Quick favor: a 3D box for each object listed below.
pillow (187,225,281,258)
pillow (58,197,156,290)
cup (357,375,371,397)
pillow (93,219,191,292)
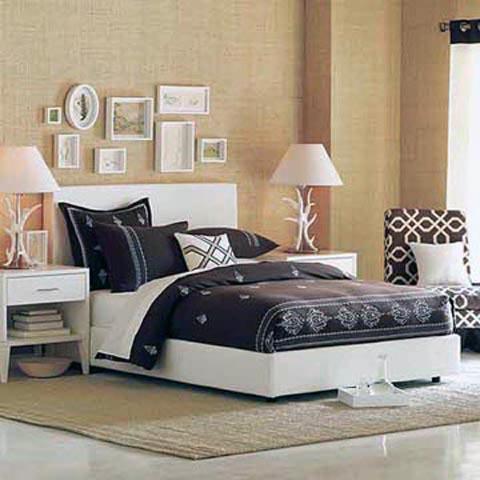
[{"bbox_3d":[-0.042,-0.005,4.828,0.492,0.171,0.479,12,2,24],"label":"pillow"},{"bbox_3d":[-0.913,0.033,4.206,0.156,0.562,0.527,-16,-8,35],"label":"pillow"},{"bbox_3d":[0.592,0.709,3.151,0.058,0.115,0.060,1,3,0],"label":"cup"},{"bbox_3d":[-0.586,0.107,4.190,0.245,0.430,0.654,-3,4,42],"label":"pillow"}]
